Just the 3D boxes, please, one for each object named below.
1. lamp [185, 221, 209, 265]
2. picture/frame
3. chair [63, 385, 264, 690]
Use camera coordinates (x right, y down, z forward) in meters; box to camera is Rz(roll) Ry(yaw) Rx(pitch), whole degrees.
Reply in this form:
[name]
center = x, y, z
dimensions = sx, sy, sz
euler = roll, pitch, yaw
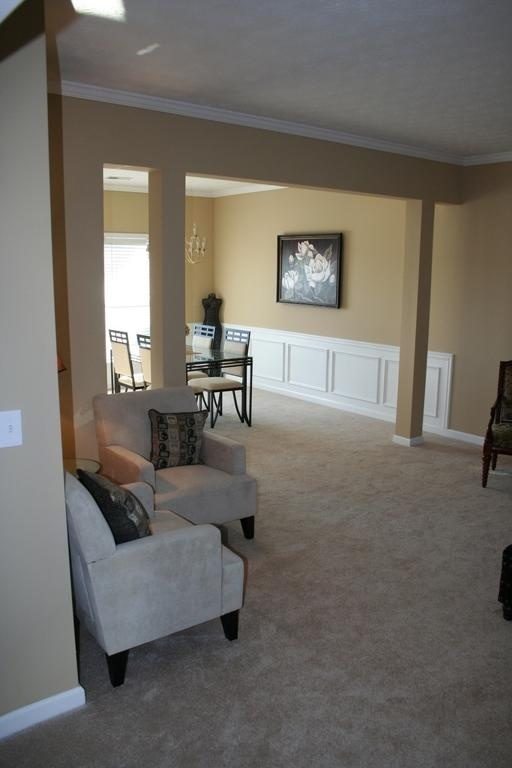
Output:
[lamp]
center = -0.983, -2.248, 8.621
dimensions = 0.284, 0.653, 0.730
euler = 0, 4, 5
[picture/frame]
center = 0.743, -1.511, 7.223
dimensions = 0.068, 0.838, 0.917
euler = -4, 12, -35
[chair]
center = -0.342, 0.587, 2.647
dimensions = 0.800, 1.367, 1.103
euler = -6, 13, -28
